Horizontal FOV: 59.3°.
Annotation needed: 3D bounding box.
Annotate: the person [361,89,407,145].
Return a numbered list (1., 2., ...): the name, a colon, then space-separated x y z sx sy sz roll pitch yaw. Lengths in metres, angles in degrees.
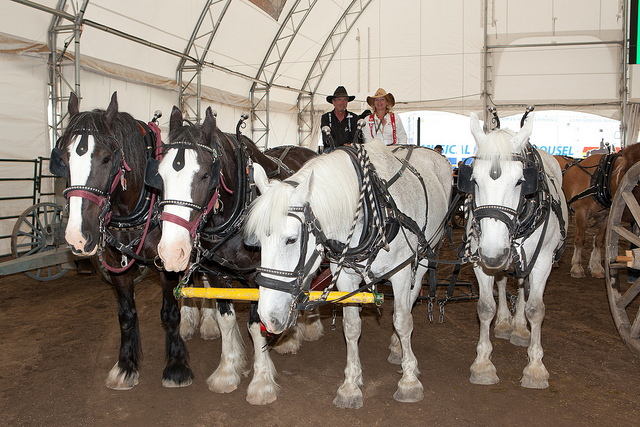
1. person: 0.947 -1.357 8.449 0.654 1.074 0.658 -3 3 15

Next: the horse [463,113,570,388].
1. horse: 2.720 0.519 7.681 1.197 3.300 4.261 3 5 25

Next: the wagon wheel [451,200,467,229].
1. wagon wheel: 2.433 0.041 9.784 0.108 0.481 0.457 -6 4 -24

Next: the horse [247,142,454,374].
1. horse: 0.434 0.602 6.436 2.540 2.784 0.981 -5 8 -42

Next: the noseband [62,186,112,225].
1. noseband: -2.611 -0.172 6.192 0.466 0.259 0.121 0 6 -2

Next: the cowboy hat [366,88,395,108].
1. cowboy hat: 0.928 -1.754 8.499 0.397 0.308 0.682 1 6 4

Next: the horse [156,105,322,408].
1. horse: -1.271 0.367 8.049 1.085 3.584 4.374 7 11 9

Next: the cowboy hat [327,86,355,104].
1. cowboy hat: 0.311 -1.838 8.725 0.310 0.154 0.372 -1 -4 1

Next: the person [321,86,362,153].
1. person: 0.325 -1.440 8.723 0.572 1.026 0.611 1 13 8
